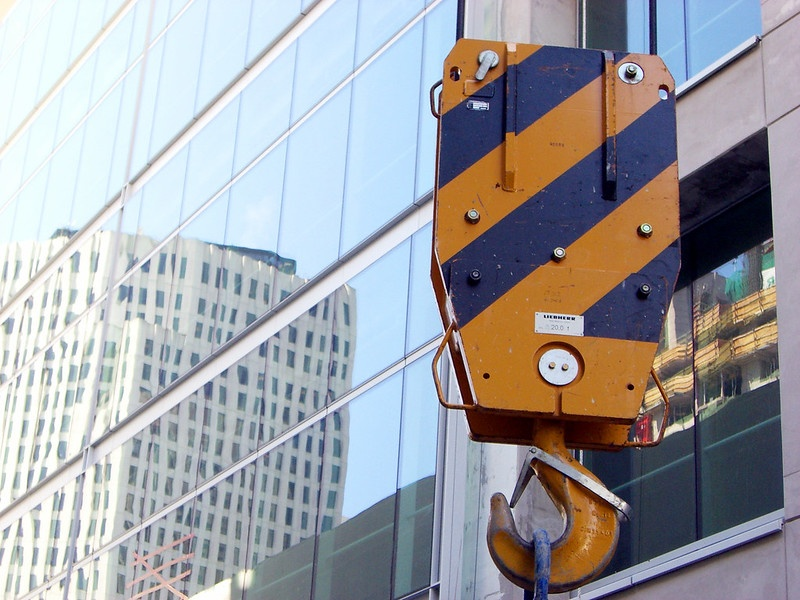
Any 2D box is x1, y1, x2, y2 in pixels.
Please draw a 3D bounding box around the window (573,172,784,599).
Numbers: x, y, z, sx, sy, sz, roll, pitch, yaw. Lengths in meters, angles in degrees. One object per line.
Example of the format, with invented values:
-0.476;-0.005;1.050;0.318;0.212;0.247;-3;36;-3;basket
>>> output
3.018;1.002;19.816;1.117;3.892;3.504;17;-22;-28;window
